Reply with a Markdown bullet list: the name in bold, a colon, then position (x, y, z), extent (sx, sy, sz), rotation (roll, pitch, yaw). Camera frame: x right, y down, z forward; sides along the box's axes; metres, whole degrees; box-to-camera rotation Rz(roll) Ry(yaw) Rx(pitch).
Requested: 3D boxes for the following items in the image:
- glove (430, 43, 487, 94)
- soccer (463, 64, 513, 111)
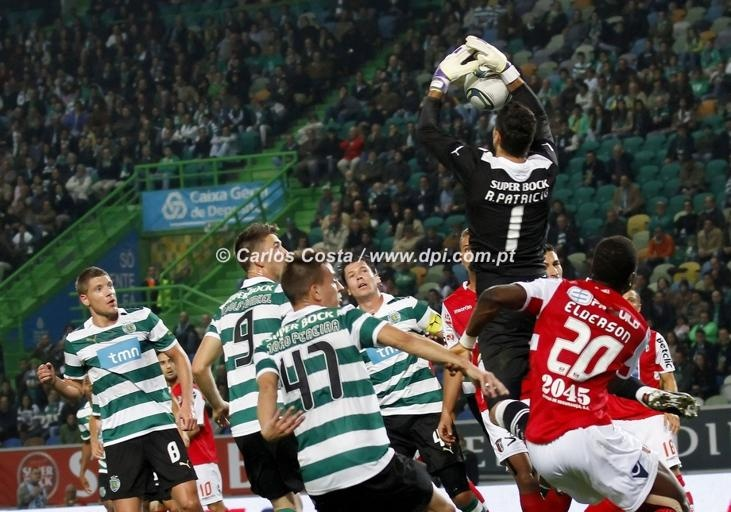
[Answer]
- **glove**: position (1.315, -2.801, 20.320), extent (0.600, 0.802, 0.220), rotation (37, 0, 5)
- **soccer**: position (1.790, -2.554, 20.340), extent (0.476, 0.678, 0.388), rotation (1, 7, 19)
